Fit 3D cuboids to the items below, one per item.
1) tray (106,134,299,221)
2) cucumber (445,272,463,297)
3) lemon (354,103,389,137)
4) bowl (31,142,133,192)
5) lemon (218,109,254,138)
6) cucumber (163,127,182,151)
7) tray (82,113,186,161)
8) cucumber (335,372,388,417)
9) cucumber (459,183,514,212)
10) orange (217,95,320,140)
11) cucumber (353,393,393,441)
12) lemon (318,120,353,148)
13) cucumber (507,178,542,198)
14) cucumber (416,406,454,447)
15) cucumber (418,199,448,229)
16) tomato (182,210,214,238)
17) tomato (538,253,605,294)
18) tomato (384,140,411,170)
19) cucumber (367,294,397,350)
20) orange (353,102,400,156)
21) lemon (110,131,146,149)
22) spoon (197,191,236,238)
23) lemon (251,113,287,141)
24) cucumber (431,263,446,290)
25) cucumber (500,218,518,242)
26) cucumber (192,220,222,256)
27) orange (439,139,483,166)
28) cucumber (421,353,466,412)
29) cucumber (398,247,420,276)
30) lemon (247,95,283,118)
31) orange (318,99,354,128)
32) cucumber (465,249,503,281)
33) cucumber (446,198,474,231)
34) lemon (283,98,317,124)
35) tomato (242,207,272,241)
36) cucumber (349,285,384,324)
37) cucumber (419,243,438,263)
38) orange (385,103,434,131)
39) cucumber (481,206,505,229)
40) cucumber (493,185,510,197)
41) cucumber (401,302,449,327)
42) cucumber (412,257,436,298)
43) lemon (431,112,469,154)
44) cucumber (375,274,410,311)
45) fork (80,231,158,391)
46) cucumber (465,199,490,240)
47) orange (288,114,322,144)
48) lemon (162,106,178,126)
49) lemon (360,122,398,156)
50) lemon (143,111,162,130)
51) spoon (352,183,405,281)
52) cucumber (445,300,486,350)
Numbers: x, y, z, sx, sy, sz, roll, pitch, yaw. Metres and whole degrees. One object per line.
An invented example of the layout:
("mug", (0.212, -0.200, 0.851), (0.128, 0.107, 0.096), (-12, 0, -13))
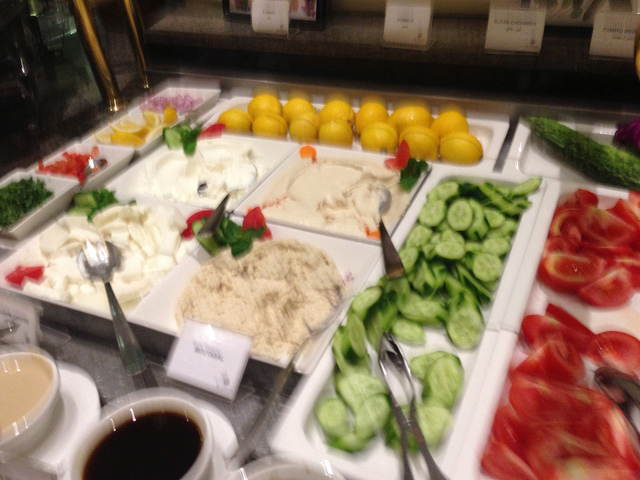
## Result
("tray", (-0.310, -0.253, 1.414), (0.354, 0.079, 0.384), (10, 41, 25))
("cucumber", (0.302, 0.103, 1.014), (0.013, 0.040, 0.037), (-40, 37, 12))
("lemon", (0.169, -0.406, 1.569), (0.099, 0.133, 0.105), (23, 1, 4))
("bowl", (-0.731, -0.243, 1.416), (0.178, 0.060, 0.194), (1, 38, -1))
("lemon", (-0.313, -0.427, 1.638), (0.126, 0.113, 0.103), (-8, 1, 3))
("cucumber", (-0.507, -0.351, 1.540), (0.058, 0.082, 0.018), (-23, 10, -6))
("tray", (-0.621, -0.393, 1.559), (0.220, 0.057, 0.236), (20, 47, 24))
("cucumber", (0.076, 0.289, 0.831), (0.086, 0.018, 0.128), (-23, 12, -8))
("cucumber", (0.468, -0.114, 1.231), (0.147, 0.038, 0.115), (4, 42, 12))
("orange", (-0.195, -0.446, 1.599), (0.216, 0.101, 0.238), (-9, 21, -4))
("cucumber", (0.093, 0.320, 0.800), (0.074, 0.045, 0.059), (-11, 46, -12))
("lemon", (0.051, -0.341, 1.512), (0.075, 0.102, 0.085), (-32, 36, 26))
("cucumber", (0.555, -0.136, 1.203), (0.081, 0.013, 0.047), (-33, 35, 11))
("cucumber", (0.203, 0.333, 0.805), (0.074, 0.022, 0.085), (-14, 35, 47))
("cucumber", (0.299, -0.068, 1.180), (0.057, 0.020, 0.081), (12, 60, 38))
("tomato", (-0.344, -0.050, 1.251), (0.062, 0.021, 0.090), (-3, 44, 27))
("tomato", (0.575, 0.078, 1.022), (0.096, 0.029, 0.100), (28, 68, 39))
("tomato", (0.241, -0.250, 1.364), (0.057, 0.023, 0.100), (10, 81, 34))
("cucumber", (0.123, 0.171, 0.918), (0.051, 0.029, 0.101), (19, 56, -9))
("orange", (0.193, -0.369, 1.512), (0.113, 0.097, 0.205), (-6, 39, -1))
("lemon", (-0.660, -0.343, 1.523), (0.068, 0.026, 0.084), (12, 31, -2))
("spoon", (-0.267, -0.070, 1.154), (0.026, 0.024, 0.194), (-6, 32, 18))
("lemon", (-0.176, -0.394, 1.562), (0.106, 0.104, 0.085), (5, 1, 17))
("cucumber", (0.275, 0.086, 1.019), (0.028, 0.016, 0.054), (0, 46, 5))
("cucumber", (0.480, -0.028, 1.135), (0.045, 0.014, 0.047), (19, 73, 50))
("cucumber", (-0.277, -0.015, 1.088), (0.037, 0.028, 0.116), (-33, 1, -31))
("orange", (0.427, -0.265, 1.351), (0.105, 0.067, 0.075), (6, 6, 31))
("cucumber", (0.228, 0.290, 0.843), (0.073, 0.024, 0.149), (10, 50, 25))
("cucumber", (0.206, 0.055, 1.055), (0.037, 0.015, 0.065), (1, 45, 17))
("lemon", (-0.207, -0.484, 1.639), (0.086, 0.054, 0.083), (-9, 19, -42))
("orange", (0.053, -0.444, 1.597), (0.096, 0.121, 0.089), (-14, 3, 44))
("cucumber", (0.391, 0.055, 1.054), (0.071, 0.085, 0.021), (-7, 22, 36))
("cucumber", (0.364, -0.057, 1.159), (0.064, 0.016, 0.111), (6, 57, 13))
("lemon", (-0.081, -0.471, 1.641), (0.096, 0.079, 0.087), (-2, 78, 11))
("tomato", (-0.168, -0.047, 1.174), (0.047, 0.028, 0.090), (17, 26, -6))
("cucumber", (0.099, 0.136, 0.943), (0.059, 0.025, 0.119), (-2, 26, 16))
("cucumber", (0.259, 0.030, 1.061), (0.038, 0.011, 0.042), (16, 42, 31))
("orange", (0.290, -0.392, 1.507), (0.120, 0.083, 0.094), (1, 2, 40))
("cucumber", (0.454, -0.055, 1.163), (0.048, 0.014, 0.050), (-26, 47, -19))
("cucumber", (0.510, -0.139, 1.241), (0.022, 0.010, 0.040), (-1, 34, -18))
("cucumber", (0.229, 0.162, 0.967), (0.071, 0.021, 0.058), (2, 38, 10))
("cucumber", (0.235, 0.087, 1.015), (0.042, 0.020, 0.080), (-12, 60, 18))
("lemon", (0.418, -0.364, 1.492), (0.118, 0.142, 0.109), (1, -4, 0))
("cucumber", (0.172, 0.121, 1.007), (0.061, 0.018, 0.070), (-29, 75, -11))
("fork", (-0.490, 0.116, 1.033), (0.086, 0.072, 0.597), (-26, 31, -21))
("cucumber", (0.406, -0.052, 1.148), (0.076, 0.019, 0.084), (-48, 38, 23))
("orange", (-0.047, -0.377, 1.527), (0.113, 0.072, 0.113), (-3, 45, -4))
("lemon", (-0.554, -0.456, 1.642), (0.055, 0.067, 0.027), (-5, -4, -10))
("lemon", (0.187, -0.323, 1.430), (0.103, 0.115, 0.112), (5, -2, 5))
("lemon", (-0.625, -0.442, 1.651), (0.050, 0.023, 0.096), (-40, 56, 3))
("spoon", (0.159, -0.022, 1.157), (0.076, 0.053, 0.355), (-12, 42, 5))
("cucumber", (0.304, 0.176, 0.953), (0.080, 0.139, 0.017), (-11, 18, 13))
